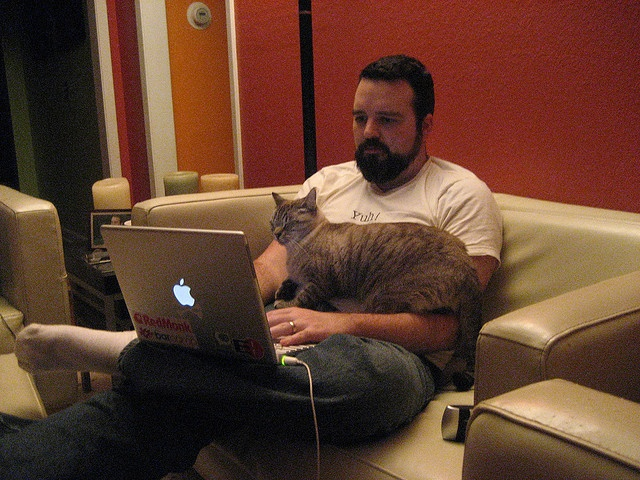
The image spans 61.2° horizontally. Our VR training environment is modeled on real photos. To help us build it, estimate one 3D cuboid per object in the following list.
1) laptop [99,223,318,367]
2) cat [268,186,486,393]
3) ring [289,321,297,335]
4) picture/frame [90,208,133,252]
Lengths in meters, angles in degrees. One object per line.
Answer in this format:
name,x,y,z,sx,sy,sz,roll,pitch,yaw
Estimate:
laptop,-0.204,0.090,1.195,0.410,0.288,0.362,4,12,28
cat,0.143,0.112,1.484,0.681,0.361,0.222,18,7,30
ring,-0.066,0.210,1.293,0.010,0.025,0.022,-8,31,14
picture/frame,-0.620,-0.033,1.605,0.156,0.147,0.088,-1,4,-14
